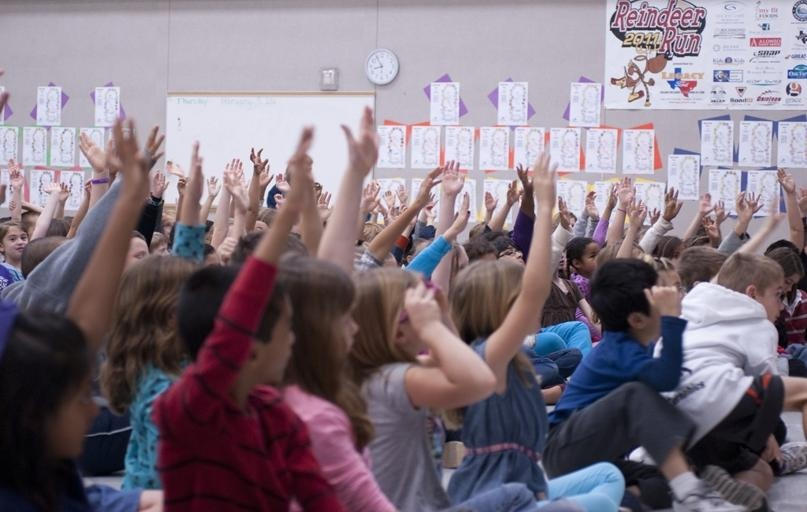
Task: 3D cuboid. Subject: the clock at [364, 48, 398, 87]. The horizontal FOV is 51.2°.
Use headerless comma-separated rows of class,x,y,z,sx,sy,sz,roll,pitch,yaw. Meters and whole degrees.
clock,-0.218,-1.825,8.087,0.282,0.324,0.038,-8,-2,9
